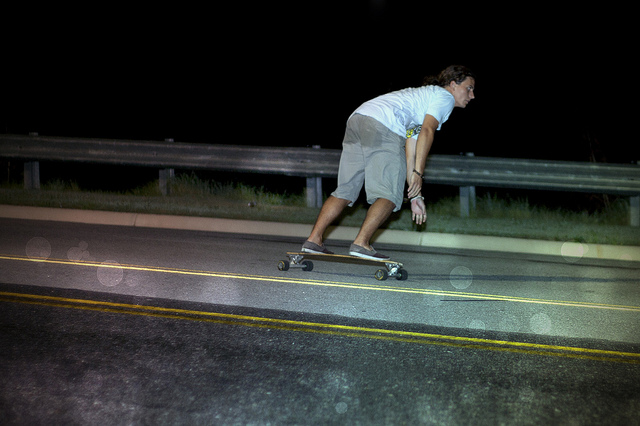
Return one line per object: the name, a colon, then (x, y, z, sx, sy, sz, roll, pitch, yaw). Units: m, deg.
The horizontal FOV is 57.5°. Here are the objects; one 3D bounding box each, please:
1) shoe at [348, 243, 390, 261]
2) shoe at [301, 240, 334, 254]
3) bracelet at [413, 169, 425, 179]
shoe: (0.623, 0.517, 7.603, 0.560, 0.233, 0.202, 15, -1, -5)
shoe: (-0.030, 0.461, 7.766, 0.398, 0.175, 0.158, 16, 12, -17)
bracelet: (1.273, -0.506, 7.471, 0.121, 0.050, 0.108, 34, 3, 6)
